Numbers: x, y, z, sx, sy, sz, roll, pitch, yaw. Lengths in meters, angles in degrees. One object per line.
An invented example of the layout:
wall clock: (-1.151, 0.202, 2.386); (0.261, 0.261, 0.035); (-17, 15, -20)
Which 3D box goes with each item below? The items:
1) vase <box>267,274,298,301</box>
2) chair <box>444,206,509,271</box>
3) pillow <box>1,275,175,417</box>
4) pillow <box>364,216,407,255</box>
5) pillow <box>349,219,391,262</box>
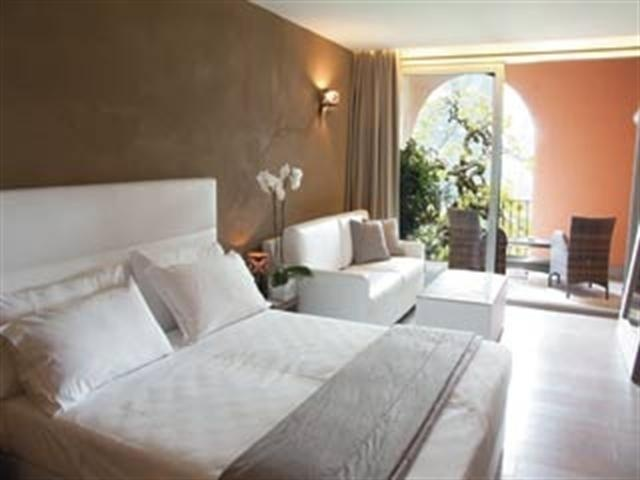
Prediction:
vase: (-0.308, 0.370, 4.048); (0.149, 0.203, 0.294); (2, 4, 27)
chair: (2.126, 0.029, 6.106); (0.728, 1.150, 0.729); (1, -1, -38)
pillow: (-1.140, 0.534, 2.235); (0.170, 0.512, 0.647); (-24, 0, 38)
pillow: (0.792, -0.036, 5.299); (0.126, 0.437, 0.419); (-5, -4, 44)
pillow: (0.520, 0.011, 4.989); (0.430, 0.459, 0.135); (2, -11, -26)
